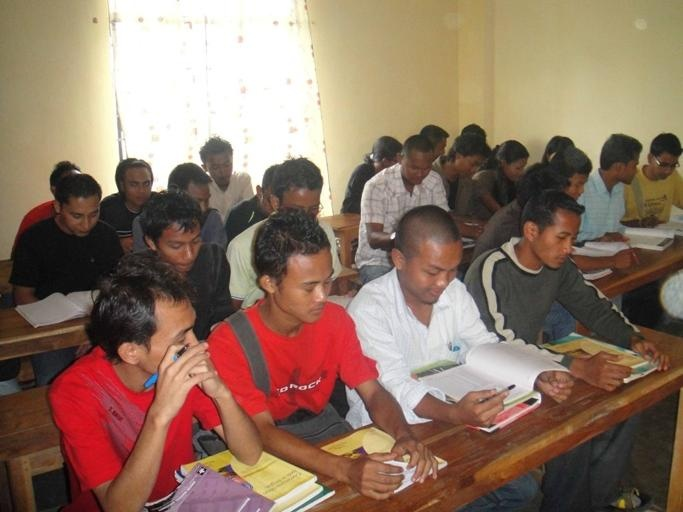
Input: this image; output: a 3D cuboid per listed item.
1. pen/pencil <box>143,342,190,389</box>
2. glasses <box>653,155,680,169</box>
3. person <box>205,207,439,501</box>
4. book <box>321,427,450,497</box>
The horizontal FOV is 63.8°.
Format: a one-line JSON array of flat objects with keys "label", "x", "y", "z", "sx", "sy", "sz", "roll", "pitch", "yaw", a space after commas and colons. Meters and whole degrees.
[{"label": "pen/pencil", "x": -0.553, "y": 0.344, "z": 1.750, "sx": 0.197, "sy": 0.027, "sz": 0.024, "roll": -47, "pitch": -7, "yaw": 19}, {"label": "glasses", "x": 2.614, "y": -0.785, "z": 4.400, "sx": 0.119, "sy": 0.038, "sz": 0.124, "roll": 5, "pitch": 37, "yaw": -7}, {"label": "person", "x": -0.064, "y": 0.370, "z": 2.011, "sx": 0.939, "sy": 0.971, "sz": 0.651, "roll": 14, "pitch": 18, "yaw": 36}, {"label": "book", "x": 0.120, "y": 0.667, "z": 1.859, "sx": 0.215, "sy": 0.025, "sz": 0.196, "roll": -10, "pitch": 17, "yaw": -39}]
